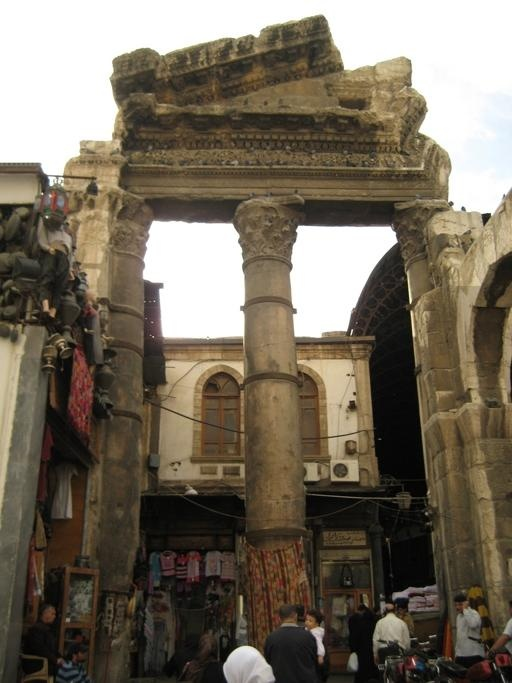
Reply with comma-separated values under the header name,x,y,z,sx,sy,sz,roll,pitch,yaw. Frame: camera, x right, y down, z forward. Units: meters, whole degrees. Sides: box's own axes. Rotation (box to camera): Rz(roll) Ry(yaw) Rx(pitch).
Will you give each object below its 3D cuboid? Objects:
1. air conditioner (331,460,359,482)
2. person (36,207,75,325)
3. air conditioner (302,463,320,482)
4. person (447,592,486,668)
name,x,y,z,sx,sy,sz,roll,pitch,yaw
air conditioner,2.457,3.583,18.016,0.951,0.665,0.526,1,-32,0
person,-2.383,-0.885,7.546,0.429,1.371,0.658,5,-23,-17
air conditioner,1.501,3.604,17.874,0.434,0.476,0.668,-3,-13,12
person,2.385,3.258,7.335,0.322,0.741,0.601,-8,-23,15
